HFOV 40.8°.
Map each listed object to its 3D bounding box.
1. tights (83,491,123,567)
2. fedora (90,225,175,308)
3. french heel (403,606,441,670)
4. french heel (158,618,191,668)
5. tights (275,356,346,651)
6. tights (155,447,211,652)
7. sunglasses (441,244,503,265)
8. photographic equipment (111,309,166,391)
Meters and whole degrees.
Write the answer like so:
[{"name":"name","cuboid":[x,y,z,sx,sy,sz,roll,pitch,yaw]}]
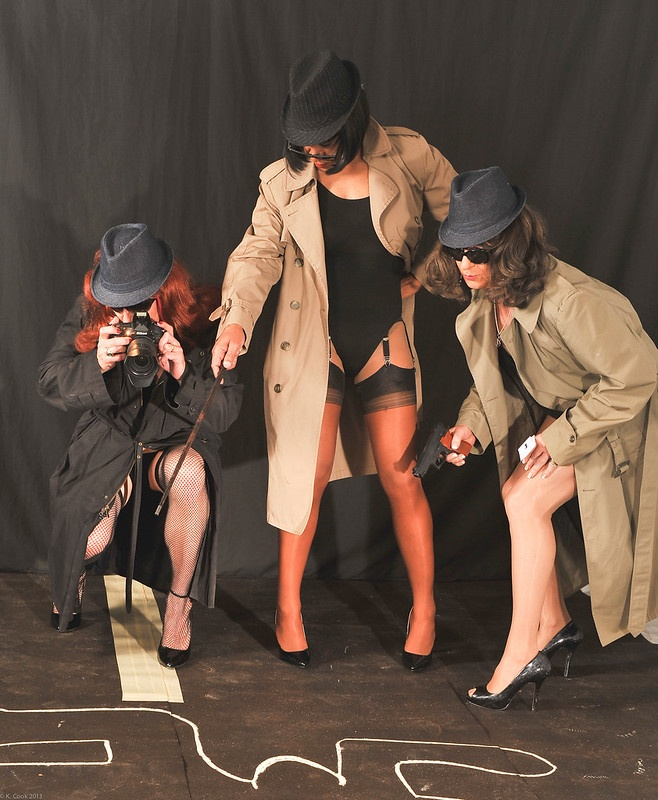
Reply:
[{"name":"tights","cuboid":[-0.645,0.370,2.544,0.049,0.206,0.118,18,1,6]},{"name":"fedora","cuboid":[-0.562,-0.377,2.503,0.228,0.200,0.271,2,34,-7]},{"name":"french heel","cuboid":[0.275,0.717,2.643,0.071,0.061,0.186,1,69,21]},{"name":"french heel","cuboid":[-0.444,0.731,2.551,0.093,0.092,0.116,0,35,-10]},{"name":"tights","cuboid":[-0.070,0.327,2.666,0.161,0.920,0.142,7,4,10]},{"name":"tights","cuboid":[-0.421,0.427,2.535,0.172,0.535,0.156,3,-6,38]},{"name":"sunglasses","cuboid":[0.370,-0.380,2.314,0.121,0.059,0.043,22,37,22]},{"name":"photographic equipment","cuboid":[-0.501,-0.126,2.364,0.127,0.073,0.194,-6,60,8]}]
